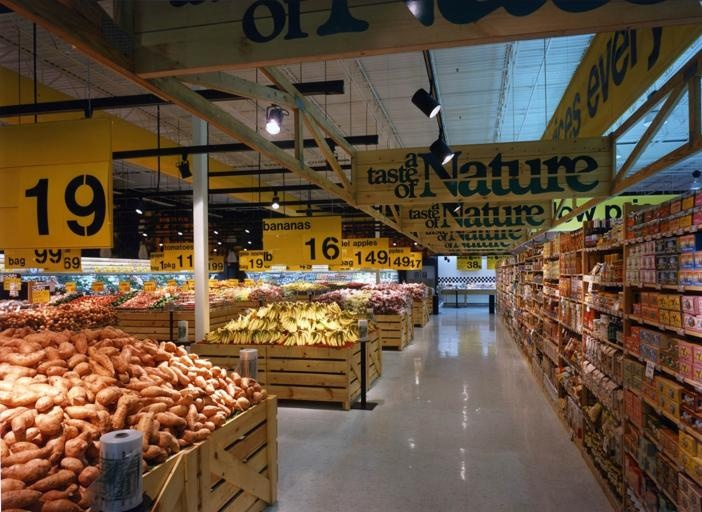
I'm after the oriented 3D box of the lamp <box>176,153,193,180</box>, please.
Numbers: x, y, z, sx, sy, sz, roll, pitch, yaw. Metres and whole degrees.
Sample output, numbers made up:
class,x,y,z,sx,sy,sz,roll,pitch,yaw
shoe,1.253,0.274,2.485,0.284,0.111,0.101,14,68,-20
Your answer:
class,x,y,z,sx,sy,sz,roll,pitch,yaw
lamp,-3.053,-1.682,9.264,0.241,0.503,0.930,0,1,-19
